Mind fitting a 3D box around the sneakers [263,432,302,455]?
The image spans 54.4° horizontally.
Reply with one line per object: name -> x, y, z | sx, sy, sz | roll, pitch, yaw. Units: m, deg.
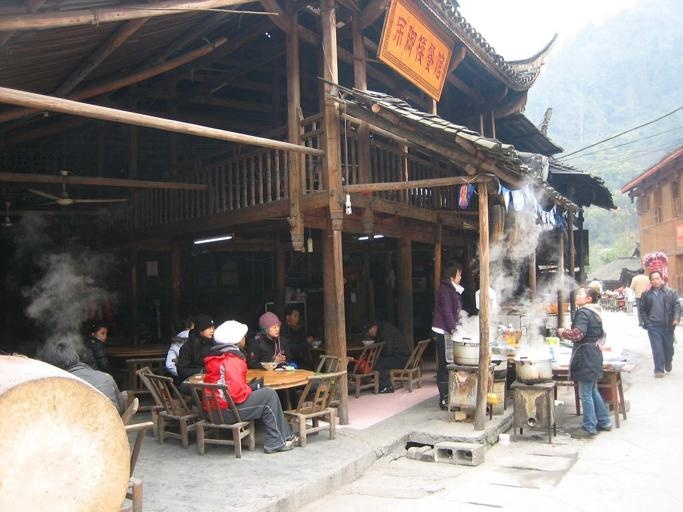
sneakers -> -0.854, 2.736, 9.645 | 0.526, 0.251, 0.173 | -13, 11, -40

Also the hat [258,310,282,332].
hat -> -1.225, 1.083, 11.220 | 0.263, 0.310, 0.341 | -20, 4, -36

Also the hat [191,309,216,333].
hat -> -2.274, 1.061, 10.901 | 0.354, 0.354, 0.343 | -4, -3, 2

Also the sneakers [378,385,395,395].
sneakers -> 0.881, 2.620, 12.987 | 0.299, 0.135, 0.112 | -3, -10, 20

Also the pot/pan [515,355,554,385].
pot/pan -> 2.974, 1.778, 10.367 | 0.577, 0.309, 0.370 | 4, -10, -32

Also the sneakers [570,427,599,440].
sneakers -> 3.775, 2.753, 10.324 | 0.394, 0.177, 0.181 | 1, 0, 13

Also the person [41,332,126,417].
person -> -3.253, 1.595, 8.395 | 0.916, 1.073, 0.971 | -4, 12, -26

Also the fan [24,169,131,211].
fan -> -6.336, -1.346, 15.521 | 1.557, 0.594, 1.612 | 0, -2, 29

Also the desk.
desk -> 4.251, 2.205, 11.259 | 1.216, 0.955, 1.144 | -2, -6, 24

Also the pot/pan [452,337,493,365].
pot/pan -> 1.999, 1.556, 10.684 | 0.361, 0.323, 0.578 | -1, -4, 14
